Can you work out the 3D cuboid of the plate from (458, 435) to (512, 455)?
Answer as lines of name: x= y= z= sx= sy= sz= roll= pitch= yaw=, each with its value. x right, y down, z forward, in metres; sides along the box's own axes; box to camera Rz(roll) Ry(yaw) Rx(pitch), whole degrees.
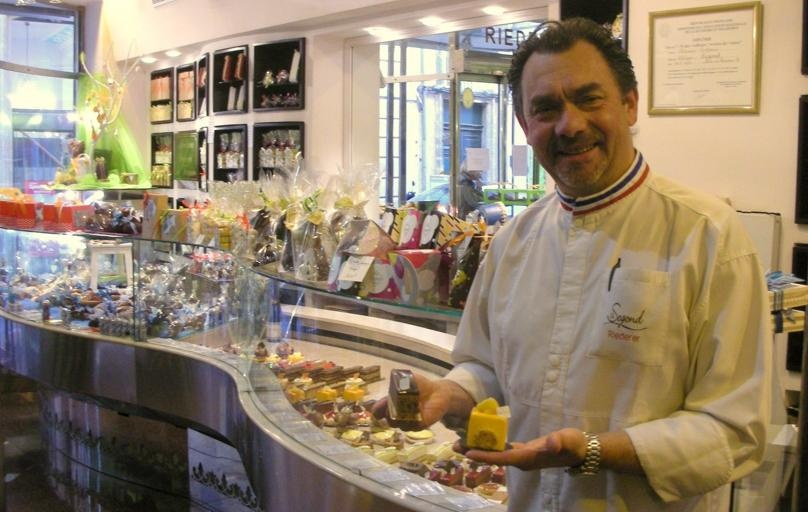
plate: x=0.253 y=0.596 z=1.920 sx=0.091 sy=0.020 sz=0.086 roll=1 pitch=-1 yaw=15

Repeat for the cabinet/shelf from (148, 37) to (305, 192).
cabinet/shelf: x=-2.627 y=-1.935 z=8.744 sx=0.530 sy=1.987 sz=3.804 roll=-2 pitch=5 yaw=-43

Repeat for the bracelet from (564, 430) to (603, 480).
bracelet: x=0.521 y=0.624 z=1.913 sx=0.091 sy=0.136 sz=0.126 roll=6 pitch=-5 yaw=-5
